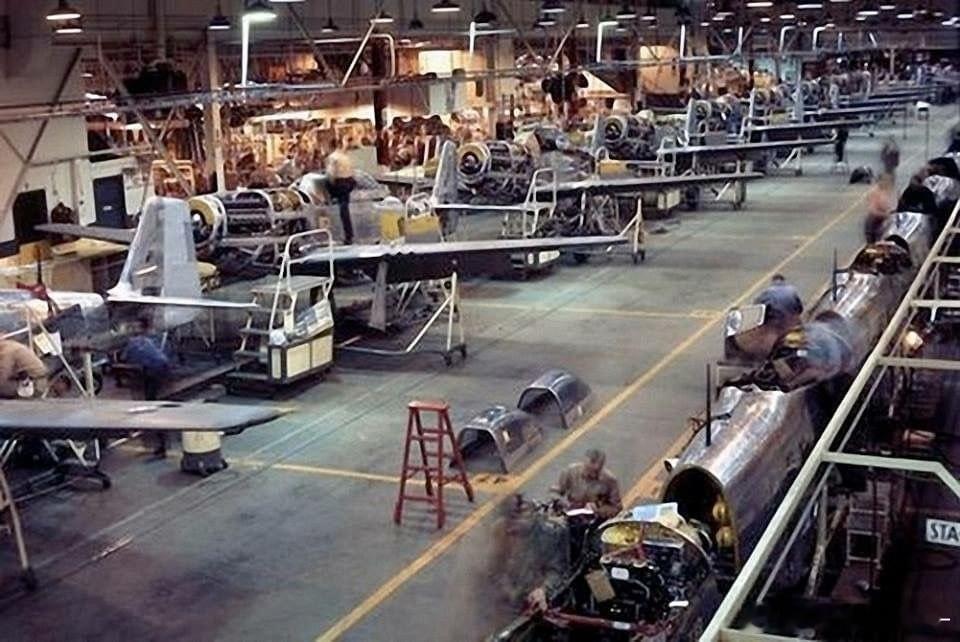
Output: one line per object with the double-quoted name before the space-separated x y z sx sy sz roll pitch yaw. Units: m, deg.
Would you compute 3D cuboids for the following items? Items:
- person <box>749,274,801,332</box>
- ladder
"person" 6.083 -0.242 18.938 1.041 0.672 1.890 -14 26 27
"ladder" -0.923 2.815 17.124 1.457 2.195 1.625 5 15 21
